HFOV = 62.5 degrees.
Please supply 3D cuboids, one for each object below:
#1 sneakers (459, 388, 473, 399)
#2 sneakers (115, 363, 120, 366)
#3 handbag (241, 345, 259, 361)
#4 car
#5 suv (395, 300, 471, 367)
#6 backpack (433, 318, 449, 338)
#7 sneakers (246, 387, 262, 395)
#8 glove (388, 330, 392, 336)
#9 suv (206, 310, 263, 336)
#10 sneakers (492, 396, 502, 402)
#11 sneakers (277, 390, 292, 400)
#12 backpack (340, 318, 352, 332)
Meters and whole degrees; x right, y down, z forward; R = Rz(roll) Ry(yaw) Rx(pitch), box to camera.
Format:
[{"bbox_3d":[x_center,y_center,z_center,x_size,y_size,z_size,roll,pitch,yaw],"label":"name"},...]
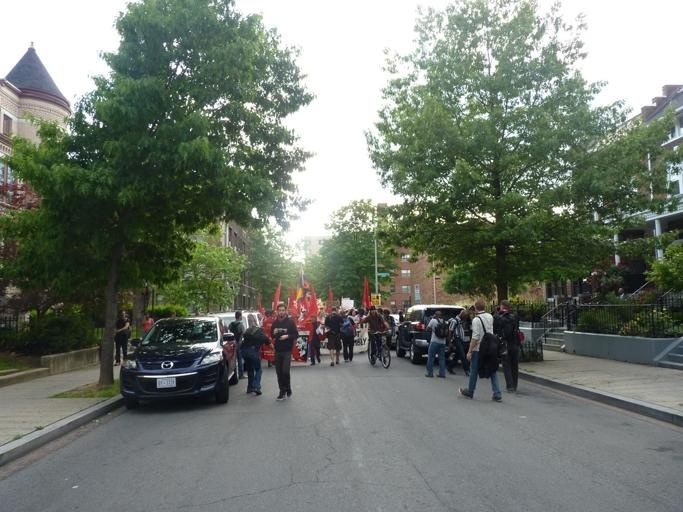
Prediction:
[{"bbox_3d":[2.960,3.271,13.458,0.337,0.178,0.157,12,-5,27],"label":"sneakers"},{"bbox_3d":[-7.963,3.861,20.140,0.114,0.063,0.170,4,-5,-12],"label":"sneakers"},{"bbox_3d":[-2.237,2.447,14.188,0.367,0.302,0.423,-2,-52,23],"label":"handbag"},{"bbox_3d":[-3.707,2.374,13.188,1.464,1.306,3.040,-2,-16,-2],"label":"car"},{"bbox_3d":[3.174,2.813,21.585,1.387,1.516,3.238,0,0,-5],"label":"suv"},{"bbox_3d":[3.051,2.205,16.942,0.432,0.767,0.540,1,1,-25],"label":"backpack"},{"bbox_3d":[-2.193,3.416,14.257,0.362,0.189,0.149,0,-4,11],"label":"sneakers"},{"bbox_3d":[1.694,2.711,19.880,0.144,0.087,0.220,1,-18,2],"label":"glove"},{"bbox_3d":[-3.693,2.180,19.562,0.865,0.861,1.779,-2,-15,3],"label":"suv"},{"bbox_3d":[3.592,3.282,12.989,0.092,0.132,0.279,1,-1,1],"label":"sneakers"},{"bbox_3d":[-1.329,3.308,13.393,0.364,0.289,0.137,16,-19,-40],"label":"sneakers"},{"bbox_3d":[0.184,2.624,21.063,0.455,0.713,0.356,5,-11,-18],"label":"backpack"}]
